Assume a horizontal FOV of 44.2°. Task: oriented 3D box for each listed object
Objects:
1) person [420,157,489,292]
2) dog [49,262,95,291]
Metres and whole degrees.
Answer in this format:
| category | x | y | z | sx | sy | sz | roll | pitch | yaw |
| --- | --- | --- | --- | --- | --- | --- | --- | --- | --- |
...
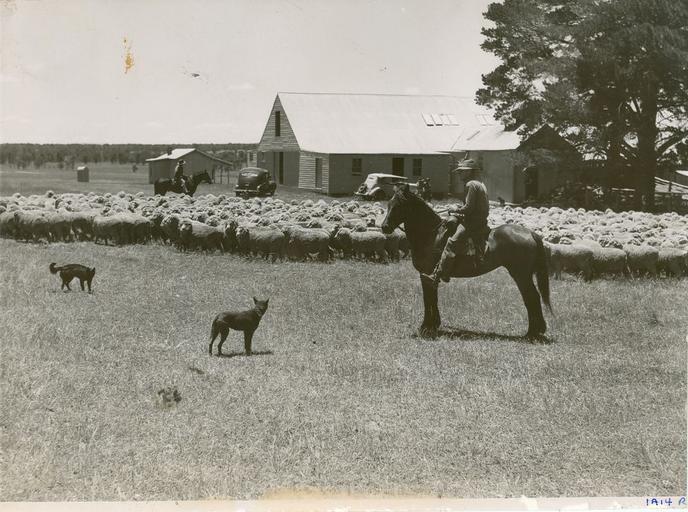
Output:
| category | x | y | z | sx | sy | sz | roll | pitch | yaw |
| --- | --- | --- | --- | --- | --- | --- | --- | --- | --- |
| person | 2.478 | -0.679 | 17.743 | 1.099 | 2.679 | 0.595 | 2 | 7 | 9 |
| dog | -6.731 | 0.486 | 21.111 | 0.945 | 0.828 | 1.331 | -2 | 8 | -19 |
